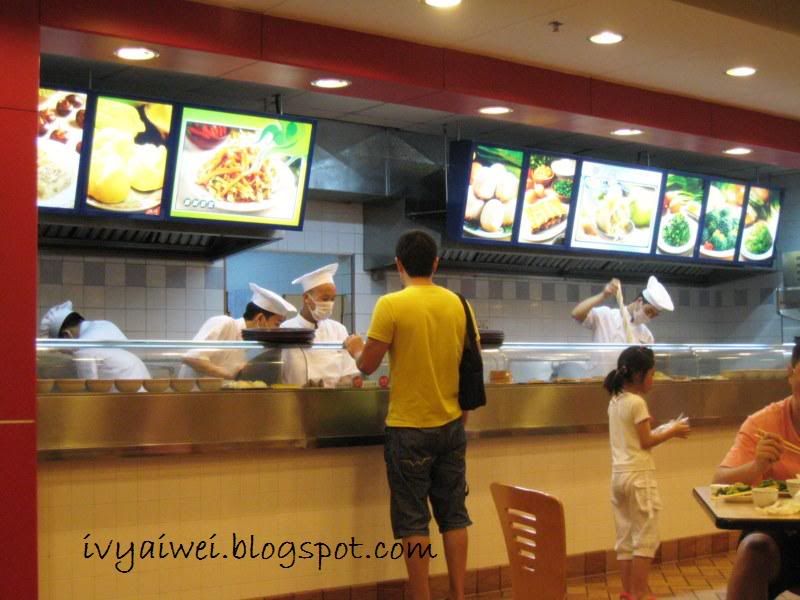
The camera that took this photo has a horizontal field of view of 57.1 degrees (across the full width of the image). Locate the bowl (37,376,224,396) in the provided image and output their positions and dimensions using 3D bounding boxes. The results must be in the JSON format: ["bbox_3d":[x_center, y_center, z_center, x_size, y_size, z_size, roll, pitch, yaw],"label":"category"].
[{"bbox_3d":[-1.273,0.405,3.521,0.830,0.092,0.059,0,3,-20],"label":"bowl"}]

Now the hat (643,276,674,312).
[{"bbox_3d":[2.195,-0.045,6.424,0.150,0.328,0.385,-32,5,10],"label":"hat"}]

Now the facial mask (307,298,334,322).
[{"bbox_3d":[-0.502,0.064,4.632,0.129,0.095,0.129,5,0,31],"label":"facial mask"}]

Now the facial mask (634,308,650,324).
[{"bbox_3d":[2.124,0.136,6.453,0.092,0.114,0.125,7,-13,-26],"label":"facial mask"}]

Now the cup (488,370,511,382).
[{"bbox_3d":[0.591,0.454,4.364,0.149,0.071,0.042,-1,3,-33],"label":"cup"}]

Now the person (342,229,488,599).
[{"bbox_3d":[0.101,0.560,3.567,0.626,1.779,0.316,0,3,-1],"label":"person"}]

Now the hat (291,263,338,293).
[{"bbox_3d":[-0.556,-0.131,4.725,0.271,0.157,0.292,-13,-6,39],"label":"hat"}]

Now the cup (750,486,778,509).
[{"bbox_3d":[1.385,0.749,2.800,0.080,0.061,0.080,-2,-7,0],"label":"cup"}]

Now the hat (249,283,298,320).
[{"bbox_3d":[-0.952,0.009,5.636,0.316,0.110,0.283,23,-2,5],"label":"hat"}]
